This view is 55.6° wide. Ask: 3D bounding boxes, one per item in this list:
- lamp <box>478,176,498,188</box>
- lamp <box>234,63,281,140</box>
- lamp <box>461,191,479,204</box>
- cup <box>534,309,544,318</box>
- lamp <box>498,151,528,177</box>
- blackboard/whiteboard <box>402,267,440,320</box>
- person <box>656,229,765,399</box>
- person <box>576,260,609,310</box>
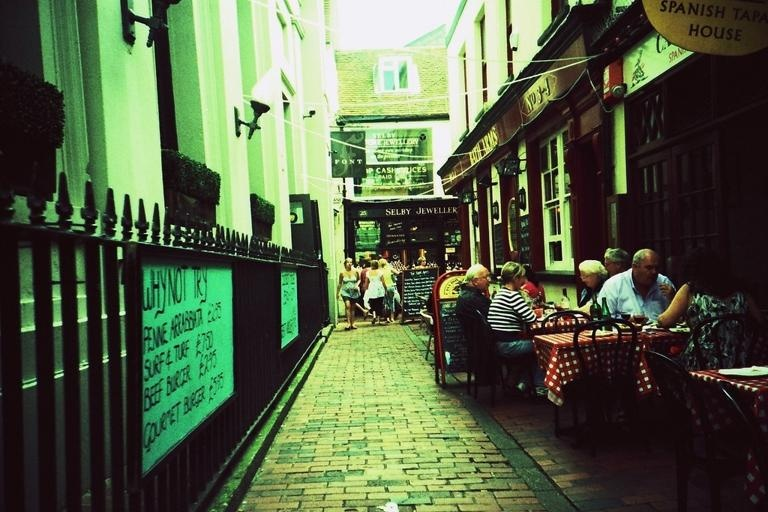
[{"bbox_3d":[2.363,-1.648,16.497,0.299,0.305,0.090,-18,-50,22],"label":"lamp"},{"bbox_3d":[-1.852,-2.246,10.565,0.489,1.139,0.335,9,-2,-4],"label":"lamp"},{"bbox_3d":[2.137,-1.454,18.332,0.281,0.328,0.208,-4,-8,20],"label":"lamp"},{"bbox_3d":[2.036,0.753,9.570,0.112,0.114,0.106,-2,2,0],"label":"cup"},{"bbox_3d":[2.407,-1.707,13.775,0.473,0.401,0.519,-7,18,-16],"label":"lamp"},{"bbox_3d":[0.794,0.787,16.161,1.086,1.681,0.178,0,5,-3],"label":"blackboard/whiteboard"},{"bbox_3d":[2.922,0.473,6.544,0.856,1.082,0.859,0,4,33],"label":"person"},{"bbox_3d":[2.668,0.335,9.349,0.442,0.906,0.805,-2,1,16],"label":"person"}]
